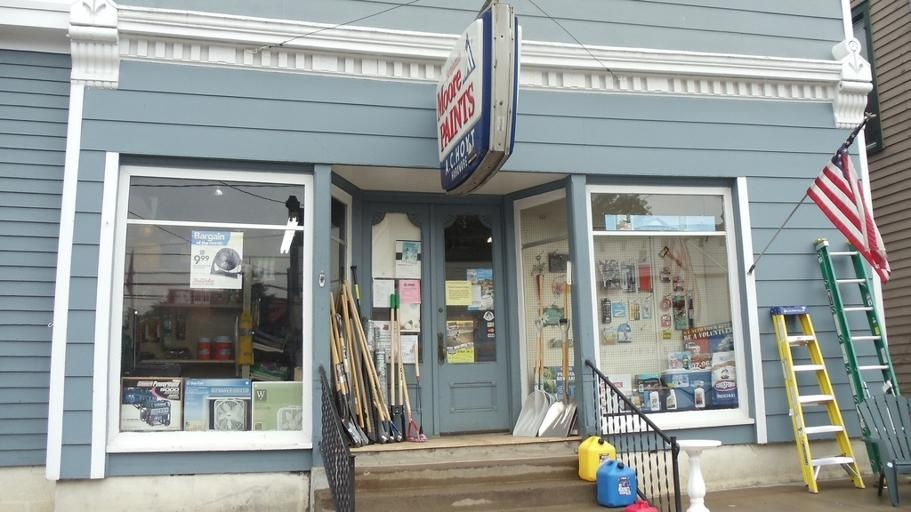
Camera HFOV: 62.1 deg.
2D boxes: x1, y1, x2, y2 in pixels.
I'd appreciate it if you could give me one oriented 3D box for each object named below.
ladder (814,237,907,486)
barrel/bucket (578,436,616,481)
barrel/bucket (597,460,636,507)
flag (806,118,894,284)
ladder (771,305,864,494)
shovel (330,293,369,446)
[{"bbox_3d":[6.058,1.252,11.429,1.481,3.123,1.080,3,1,24],"label":"ladder"},{"bbox_3d":[1.888,2.758,10.261,0.557,0.717,0.554,0,-1,0],"label":"barrel/bucket"},{"bbox_3d":[2.122,2.978,10.236,0.573,0.727,0.568,0,-1,0],"label":"barrel/bucket"},{"bbox_3d":[5.694,-0.648,10.865,1.014,2.376,1.031,11,0,-8],"label":"flag"},{"bbox_3d":[5.211,2.028,10.980,0.986,2.615,0.592,3,-13,-25],"label":"ladder"},{"bbox_3d":[-1.470,1.679,10.556,0.573,1.871,0.278,3,-14,-25],"label":"shovel"}]
